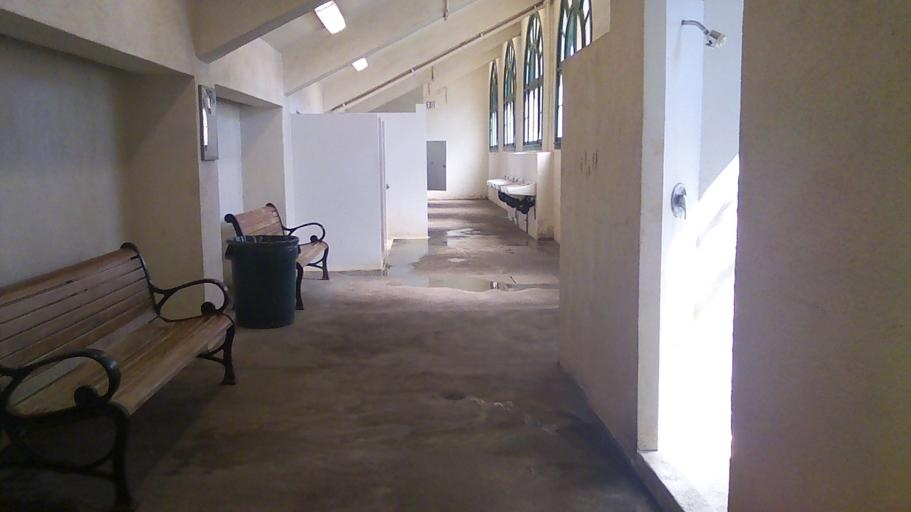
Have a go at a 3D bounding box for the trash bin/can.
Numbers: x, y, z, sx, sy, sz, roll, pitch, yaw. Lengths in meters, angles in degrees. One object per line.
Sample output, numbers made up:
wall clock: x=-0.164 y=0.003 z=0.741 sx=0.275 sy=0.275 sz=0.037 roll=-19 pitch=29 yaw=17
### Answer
trash bin/can: x=-2.200 y=0.243 z=6.712 sx=0.939 sy=0.993 sz=1.027 roll=1 pitch=4 yaw=12

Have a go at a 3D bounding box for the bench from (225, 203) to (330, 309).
bench: x=-2.307 y=-0.072 z=7.640 sx=0.972 sy=1.080 sz=2.018 roll=7 pitch=7 yaw=-4
